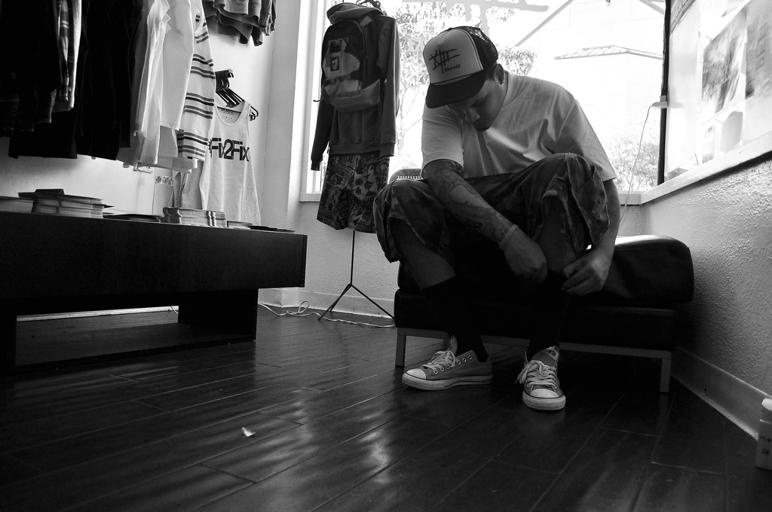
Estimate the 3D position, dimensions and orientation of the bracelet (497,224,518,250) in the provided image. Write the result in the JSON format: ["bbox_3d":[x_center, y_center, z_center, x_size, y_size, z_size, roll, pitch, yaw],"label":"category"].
[{"bbox_3d":[0.432,-0.071,1.803,0.031,0.079,0.074,37,32,-11],"label":"bracelet"}]

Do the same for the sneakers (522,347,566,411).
[{"bbox_3d":[0.568,0.433,1.834,0.136,0.140,0.357,2,6,18],"label":"sneakers"}]

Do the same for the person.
[{"bbox_3d":[0.465,-0.161,2.011,0.811,1.362,0.694,0,-6,25],"label":"person"}]

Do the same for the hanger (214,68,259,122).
[{"bbox_3d":[-1.055,-1.106,3.472,0.320,0.139,0.330,31,25,-15],"label":"hanger"}]

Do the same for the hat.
[{"bbox_3d":[0.260,-0.742,1.894,0.273,0.198,0.381,-5,39,25],"label":"hat"}]

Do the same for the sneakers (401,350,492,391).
[{"bbox_3d":[0.242,0.433,1.972,0.341,0.158,0.131,2,-1,-14],"label":"sneakers"}]
